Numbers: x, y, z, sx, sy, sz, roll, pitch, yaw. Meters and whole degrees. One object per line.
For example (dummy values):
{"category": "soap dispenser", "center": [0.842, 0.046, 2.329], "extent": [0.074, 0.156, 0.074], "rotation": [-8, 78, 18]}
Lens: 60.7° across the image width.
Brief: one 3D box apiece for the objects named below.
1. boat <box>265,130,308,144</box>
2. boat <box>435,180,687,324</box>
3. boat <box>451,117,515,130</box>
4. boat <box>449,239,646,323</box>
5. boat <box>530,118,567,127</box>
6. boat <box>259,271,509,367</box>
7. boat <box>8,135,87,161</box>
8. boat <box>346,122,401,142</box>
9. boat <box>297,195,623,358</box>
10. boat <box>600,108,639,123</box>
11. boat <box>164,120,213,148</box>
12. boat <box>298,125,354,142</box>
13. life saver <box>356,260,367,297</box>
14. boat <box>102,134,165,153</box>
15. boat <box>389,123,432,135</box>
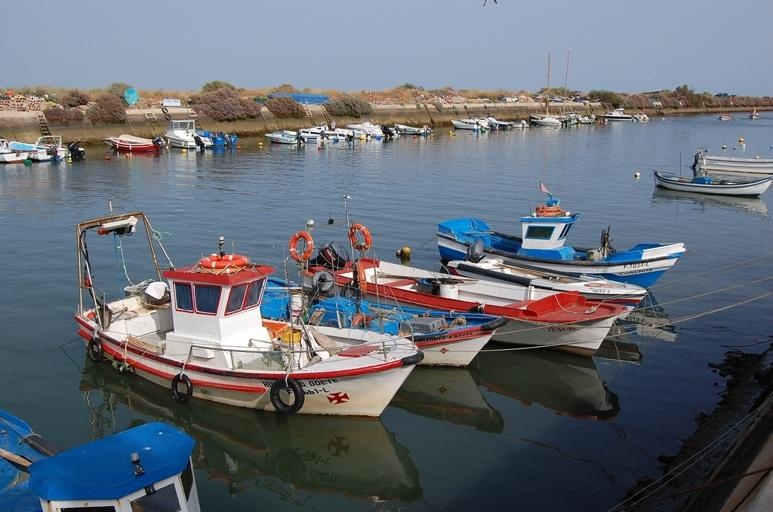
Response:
{"category": "boat", "center": [-11.057, -13.073, 73.478], "extent": [3.933, 1.081, 1.916], "rotation": [-2, 21, -10]}
{"category": "boat", "center": [6.836, -0.455, 26.671], "extent": [10.123, 3.331, 3.328], "rotation": [10, 14, 38]}
{"category": "boat", "center": [13.452, -19.054, 96.127], "extent": [5.062, 1.984, 11.224], "rotation": [8, 14, 36]}
{"category": "boat", "center": [5.759, 1.005, 23.548], "extent": [7.807, 1.360, 1.556], "rotation": [13, 20, 17]}
{"category": "boat", "center": [25.651, -21.111, 104.789], "extent": [4.496, 1.675, 6.641], "rotation": [0, 11, 2]}
{"category": "boat", "center": [-0.083, 2.353, 20.681], "extent": [7.341, 1.229, 2.063], "rotation": [5, 13, 9]}
{"category": "boat", "center": [-29.523, -8.906, 55.456], "extent": [5.653, 1.595, 3.821], "rotation": [13, 19, 37]}
{"category": "boat", "center": [-2.689, -15.592, 82.730], "extent": [4.934, 1.354, 3.670], "rotation": [12, 15, 40]}
{"category": "boat", "center": [2.594, 1.894, 21.411], "extent": [9.464, 1.986, 2.617], "rotation": [5, 14, 4]}
{"category": "boat", "center": [44.267, -25.760, 121.523], "extent": [10.176, 2.382, 2.531], "rotation": [3, 16, 11]}
{"category": "boat", "center": [-20.118, -12.026, 66.447], "extent": [3.037, 1.818, 4.618], "rotation": [-14, 24, -38]}
{"category": "boat", "center": [-7.130, -13.983, 76.594], "extent": [5.303, 1.194, 2.733], "rotation": [-2, 6, -24]}
{"category": "life saver", "center": [-0.913, 0.779, 22.701], "extent": [0.453, 1.055, 0.268], "rotation": [-7, -10, 11]}
{"category": "boat", "center": [-24.712, -10.288, 62.614], "extent": [6.304, 1.504, 2.019], "rotation": [5, 30, 6]}
{"category": "boat", "center": [3.141, -16.659, 88.241], "extent": [4.546, 1.136, 2.661], "rotation": [1, 21, 3]}
